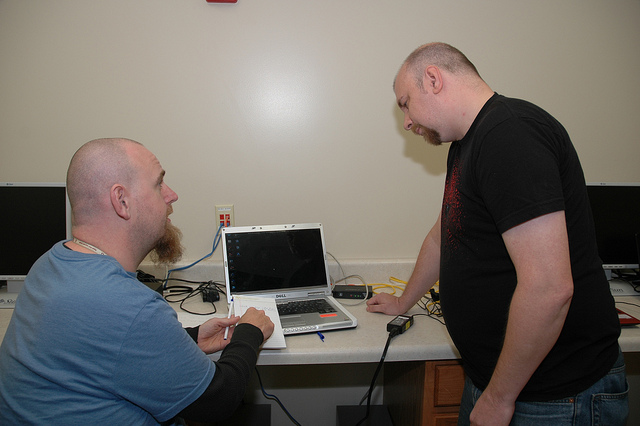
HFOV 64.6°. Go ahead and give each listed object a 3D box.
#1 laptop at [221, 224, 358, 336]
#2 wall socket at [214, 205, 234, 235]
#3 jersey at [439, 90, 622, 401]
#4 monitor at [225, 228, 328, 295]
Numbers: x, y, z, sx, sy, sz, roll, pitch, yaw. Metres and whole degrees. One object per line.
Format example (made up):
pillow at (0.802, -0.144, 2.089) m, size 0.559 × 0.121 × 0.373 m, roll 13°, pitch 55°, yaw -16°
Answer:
laptop at (-0.157, 0.279, 2.321) m, size 0.502 × 0.352 × 0.494 m, roll -4°, pitch 14°, yaw -19°
wall socket at (-0.495, 0.037, 2.638) m, size 0.097 × 0.179 × 0.021 m, roll -8°, pitch 46°, yaw -14°
jersey at (0.688, 0.112, 1.741) m, size 0.586 × 1.048 × 0.292 m, roll -1°, pitch 6°, yaw 31°
monitor at (-0.200, 0.219, 2.400) m, size 0.498 × 0.337 × 0.018 m, roll 0°, pitch -21°, yaw -16°
